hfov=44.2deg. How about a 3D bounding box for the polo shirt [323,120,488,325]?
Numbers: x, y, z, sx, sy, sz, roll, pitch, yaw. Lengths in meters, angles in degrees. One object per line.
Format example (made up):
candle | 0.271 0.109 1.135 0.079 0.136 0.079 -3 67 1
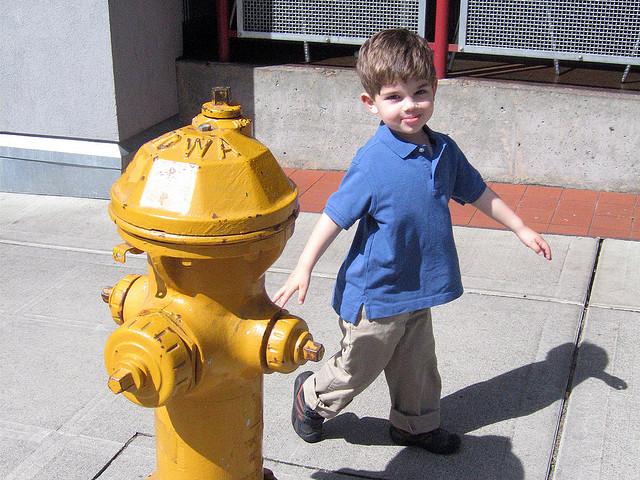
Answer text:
polo shirt | 0.354 -0.080 3.385 0.702 0.820 0.386 0 19 -8

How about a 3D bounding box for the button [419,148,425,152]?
button | 0.422 -0.377 3.291 0.018 0.019 0.006 0 1 -10
